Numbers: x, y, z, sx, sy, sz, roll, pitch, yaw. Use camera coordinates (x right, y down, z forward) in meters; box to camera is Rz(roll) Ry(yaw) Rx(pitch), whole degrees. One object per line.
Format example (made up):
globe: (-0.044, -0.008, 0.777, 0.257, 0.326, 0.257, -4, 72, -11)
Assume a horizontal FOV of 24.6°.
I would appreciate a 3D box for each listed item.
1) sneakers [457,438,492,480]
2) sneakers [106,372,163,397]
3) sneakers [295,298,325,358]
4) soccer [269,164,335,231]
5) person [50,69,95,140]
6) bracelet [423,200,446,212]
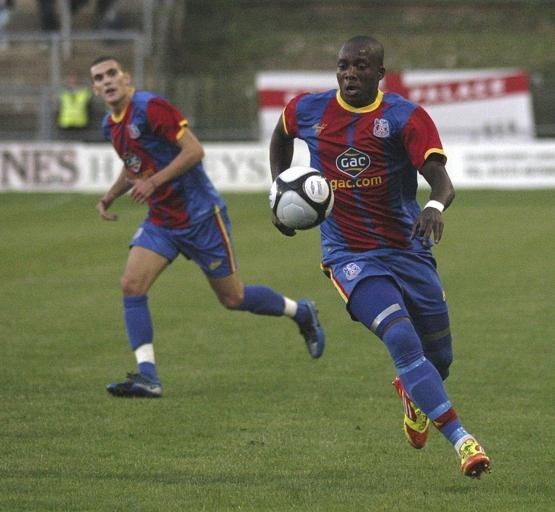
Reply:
sneakers: (1.347, 1.382, 8.718, 0.202, 0.283, 0.159, -2, 11, 0)
sneakers: (-1.104, 1.012, 9.984, 0.473, 0.194, 0.160, 4, -27, 2)
sneakers: (0.251, 0.617, 10.809, 0.253, 0.580, 0.210, -5, 22, 14)
soccer: (0.199, -0.420, 9.515, 0.526, 0.477, 0.459, -5, -16, 1)
person: (-3.283, -2.390, 20.406, 0.566, 1.068, 1.113, -4, 11, -9)
bracelet: (1.099, -0.334, 8.924, 0.102, 0.069, 0.100, 32, -14, -3)
